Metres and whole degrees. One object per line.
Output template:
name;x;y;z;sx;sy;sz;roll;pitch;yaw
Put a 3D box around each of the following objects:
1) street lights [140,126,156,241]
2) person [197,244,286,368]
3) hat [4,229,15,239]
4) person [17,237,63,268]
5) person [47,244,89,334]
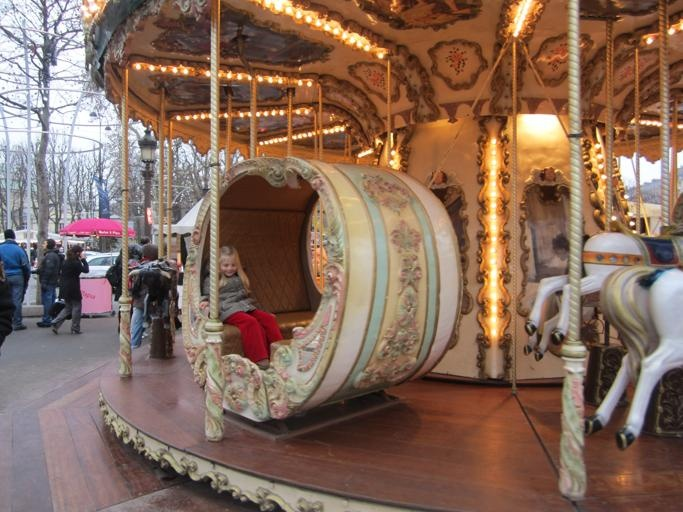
street lights;-3.877;-1.374;11.497;0.405;2.366;0.438;5;16;-2
person;-1.020;0.527;6.272;0.677;1.261;0.698;-3;6;16
hat;-6.702;-0.432;11.541;0.189;0.288;0.265;1;8;-26
person;-8.381;-0.081;15.853;1.212;0.849;1.222;2;-4;-37
person;-5.717;0.703;11.947;0.619;1.807;0.816;-5;6;-12
